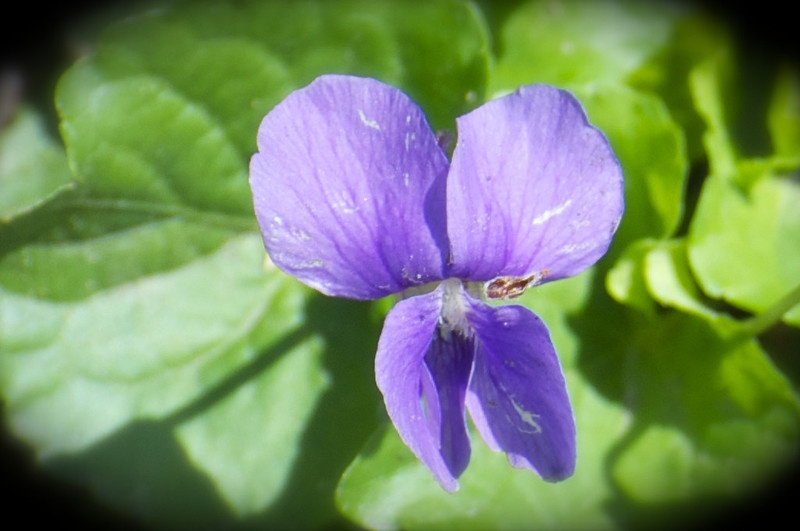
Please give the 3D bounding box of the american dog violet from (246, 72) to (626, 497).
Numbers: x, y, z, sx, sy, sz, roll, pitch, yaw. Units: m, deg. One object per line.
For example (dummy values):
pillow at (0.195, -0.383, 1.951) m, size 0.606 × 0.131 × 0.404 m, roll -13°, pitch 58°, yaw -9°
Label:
american dog violet at (0.091, -0.018, 0.905) m, size 0.420 × 0.116 × 0.534 m, roll -29°, pitch 49°, yaw 8°
